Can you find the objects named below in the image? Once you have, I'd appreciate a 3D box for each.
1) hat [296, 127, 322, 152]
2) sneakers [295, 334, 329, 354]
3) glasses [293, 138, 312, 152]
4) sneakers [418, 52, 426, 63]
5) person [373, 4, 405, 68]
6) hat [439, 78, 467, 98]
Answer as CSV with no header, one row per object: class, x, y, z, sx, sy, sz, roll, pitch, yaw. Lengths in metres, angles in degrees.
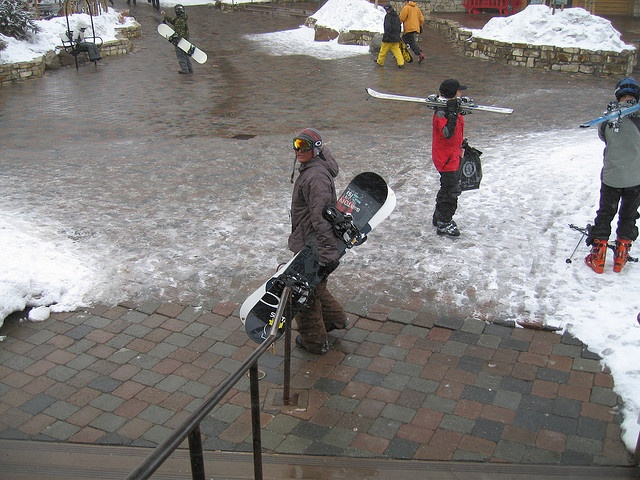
hat,-0.125,-0.937,4.560,0.226,0.167,0.298,24,30,39
sneakers,-0.073,1.027,4.869,0.381,0.117,0.149,11,32,29
glasses,-0.181,-0.870,4.483,0.197,0.125,0.106,9,31,27
sneakers,3.129,-5.649,15.104,0.255,0.205,0.278,-2,53,2
person,2.106,-6.196,14.848,0.877,1.831,1.428,-2,28,9
hat,1.639,-1.921,6.228,0.220,0.226,0.217,8,30,24
